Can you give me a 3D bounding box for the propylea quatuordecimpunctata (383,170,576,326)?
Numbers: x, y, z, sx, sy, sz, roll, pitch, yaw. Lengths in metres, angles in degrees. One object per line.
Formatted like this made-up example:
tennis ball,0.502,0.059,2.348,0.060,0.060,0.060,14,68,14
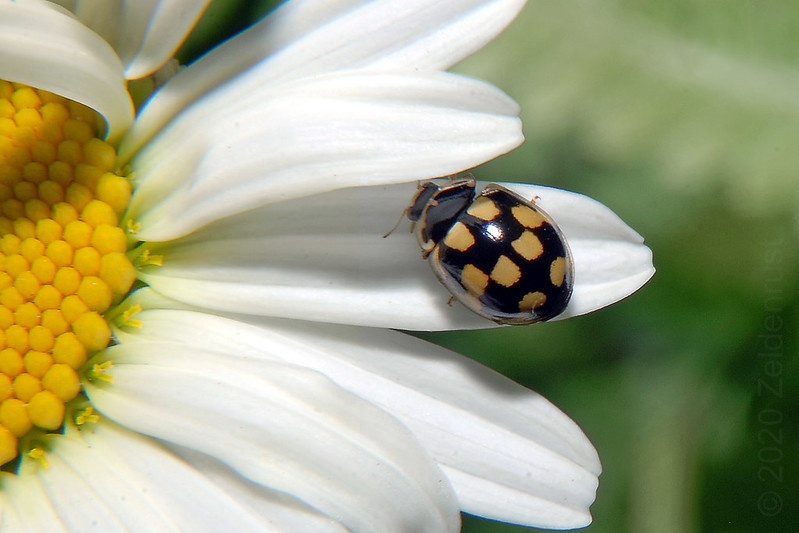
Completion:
propylea quatuordecimpunctata,0.148,-0.027,1.471,0.332,0.104,0.236,34,83,7
